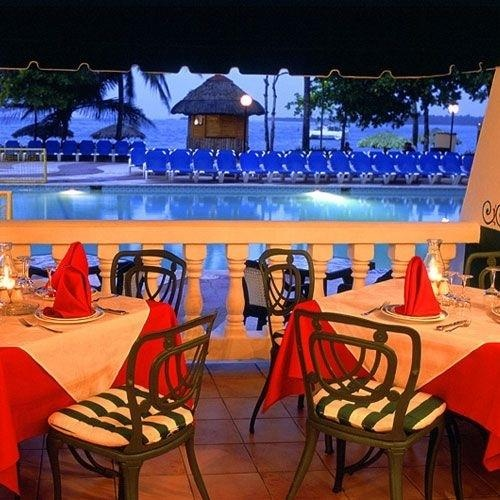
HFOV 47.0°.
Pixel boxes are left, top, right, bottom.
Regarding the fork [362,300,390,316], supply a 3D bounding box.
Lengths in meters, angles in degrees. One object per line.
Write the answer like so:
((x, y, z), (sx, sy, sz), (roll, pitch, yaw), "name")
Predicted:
((0.540, 0.251, 2.456), (0.045, 0.049, 0.385), (4, 6, 23), "fork")

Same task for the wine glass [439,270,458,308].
((0.884, 0.183, 2.625), (0.092, 0.171, 0.105), (-1, 2, -2), "wine glass")
